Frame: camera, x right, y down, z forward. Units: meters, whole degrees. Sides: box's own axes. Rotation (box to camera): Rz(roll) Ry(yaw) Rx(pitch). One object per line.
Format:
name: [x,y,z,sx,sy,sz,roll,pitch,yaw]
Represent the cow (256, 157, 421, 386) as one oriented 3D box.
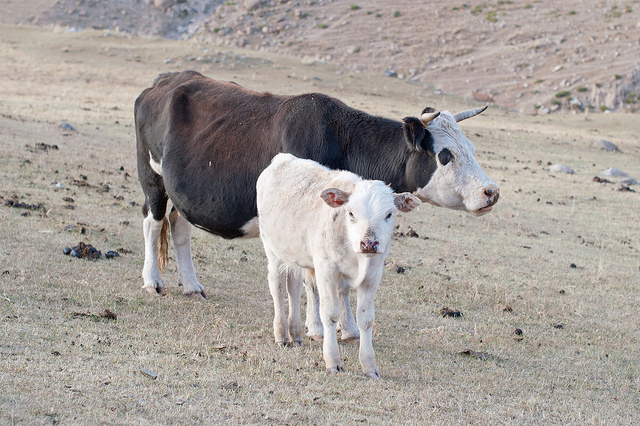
cow: [0.164,1.949,42.335,4.787,7.134,1.951,9,17,19]
